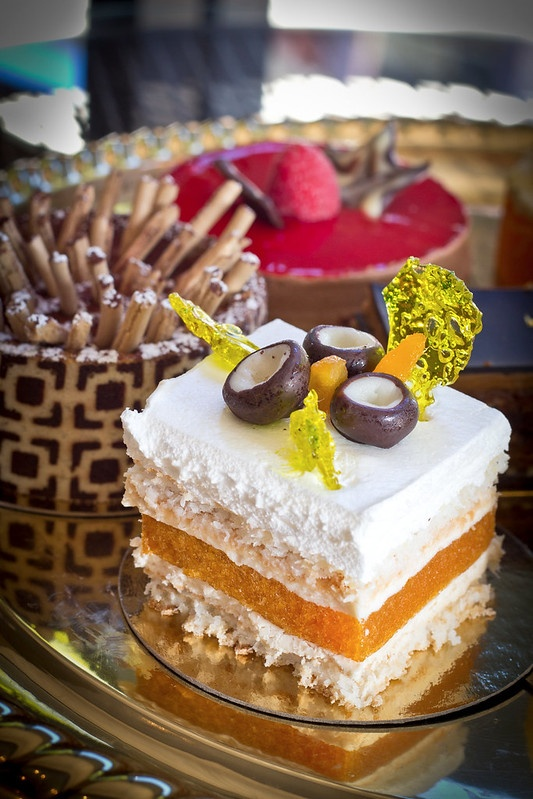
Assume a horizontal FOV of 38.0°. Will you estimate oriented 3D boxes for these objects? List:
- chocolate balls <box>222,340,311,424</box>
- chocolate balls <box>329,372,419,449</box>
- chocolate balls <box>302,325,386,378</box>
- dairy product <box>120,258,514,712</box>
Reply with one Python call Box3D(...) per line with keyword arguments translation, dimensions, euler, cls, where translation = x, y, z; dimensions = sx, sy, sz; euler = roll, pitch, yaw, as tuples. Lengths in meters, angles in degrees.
Box3D(translation=(0.027, -0.018, 1.145), dimensions=(0.133, 0.084, 0.126), euler=(-28, 30, 17), cls="chocolate balls")
Box3D(translation=(0.142, 0.007, 1.075), dimensions=(0.112, 0.050, 0.115), euler=(-2, 48, 2), cls="chocolate balls")
Box3D(translation=(0.121, -0.081, 1.182), dimensions=(0.101, 0.057, 0.093), euler=(4, 24, -2), cls="chocolate balls")
Box3D(translation=(0.093, 0.093, 1.226), dimensions=(0.572, 0.510, 0.524), euler=(12, 31, 20), cls="dairy product")
